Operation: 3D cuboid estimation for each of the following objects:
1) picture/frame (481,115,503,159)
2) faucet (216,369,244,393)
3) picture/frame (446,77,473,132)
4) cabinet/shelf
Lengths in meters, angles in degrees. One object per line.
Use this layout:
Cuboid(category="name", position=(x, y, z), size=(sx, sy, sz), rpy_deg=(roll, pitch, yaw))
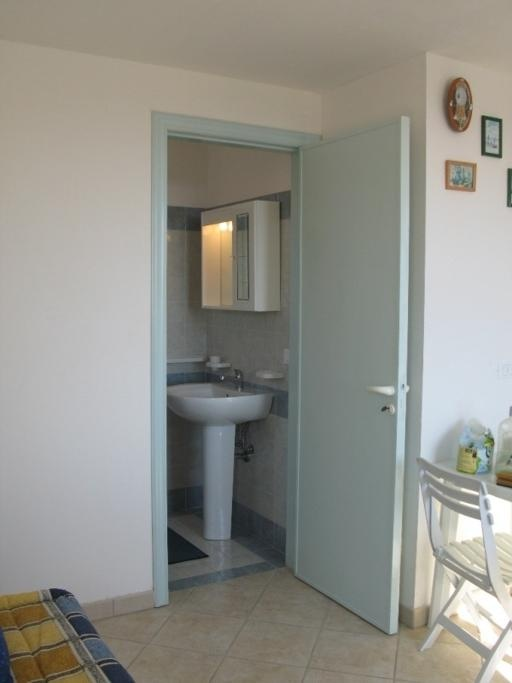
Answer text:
Cuboid(category="picture/frame", position=(1.020, -0.894, 2.442), size=(0.175, 0.233, 0.020), rpy_deg=(-3, 3, -41))
Cuboid(category="faucet", position=(-0.168, 0.256, 3.783), size=(0.080, 0.115, 0.288), rpy_deg=(-1, 12, -15))
Cuboid(category="picture/frame", position=(0.822, -0.967, 2.286), size=(0.036, 0.251, 0.178), rpy_deg=(4, 14, 40))
Cuboid(category="cabinet/shelf", position=(-0.081, -0.522, 3.460), size=(0.196, 0.730, 0.715), rpy_deg=(0, 0, -25))
